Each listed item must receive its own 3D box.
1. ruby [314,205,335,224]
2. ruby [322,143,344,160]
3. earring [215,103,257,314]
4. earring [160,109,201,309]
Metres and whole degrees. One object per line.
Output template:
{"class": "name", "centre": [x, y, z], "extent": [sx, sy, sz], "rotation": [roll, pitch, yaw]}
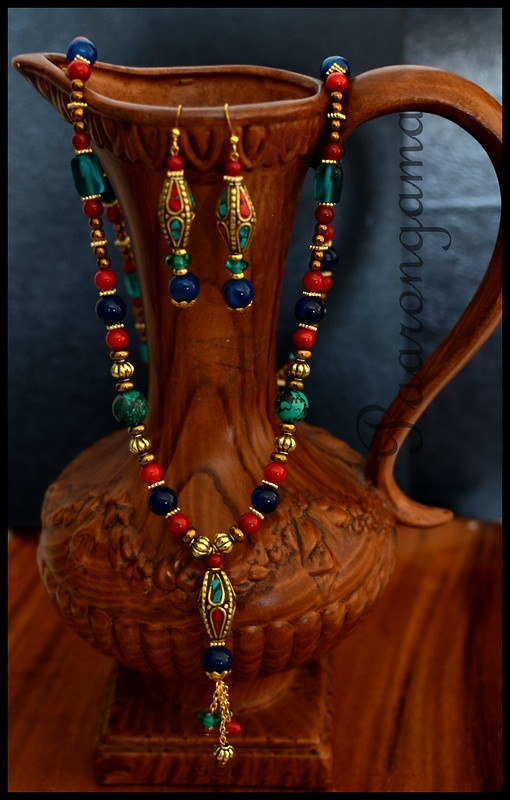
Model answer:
{"class": "ruby", "centre": [0.051, -0.134, 0.560], "extent": [0.014, 0.016, 0.014], "rotation": [-6, -6, 31]}
{"class": "ruby", "centre": [0.052, -0.175, 0.538], "extent": [0.014, 0.014, 0.010], "rotation": [15, 16, -19]}
{"class": "earring", "centre": [-0.011, -0.123, 0.510], "extent": [0.026, 0.125, 0.076], "rotation": [5, 6, 3]}
{"class": "earring", "centre": [-0.048, -0.123, 0.503], "extent": [0.028, 0.121, 0.059], "rotation": [5, 6, -2]}
